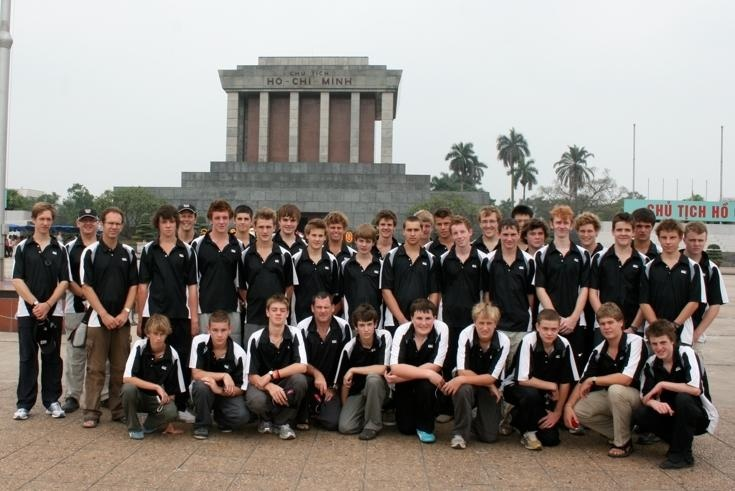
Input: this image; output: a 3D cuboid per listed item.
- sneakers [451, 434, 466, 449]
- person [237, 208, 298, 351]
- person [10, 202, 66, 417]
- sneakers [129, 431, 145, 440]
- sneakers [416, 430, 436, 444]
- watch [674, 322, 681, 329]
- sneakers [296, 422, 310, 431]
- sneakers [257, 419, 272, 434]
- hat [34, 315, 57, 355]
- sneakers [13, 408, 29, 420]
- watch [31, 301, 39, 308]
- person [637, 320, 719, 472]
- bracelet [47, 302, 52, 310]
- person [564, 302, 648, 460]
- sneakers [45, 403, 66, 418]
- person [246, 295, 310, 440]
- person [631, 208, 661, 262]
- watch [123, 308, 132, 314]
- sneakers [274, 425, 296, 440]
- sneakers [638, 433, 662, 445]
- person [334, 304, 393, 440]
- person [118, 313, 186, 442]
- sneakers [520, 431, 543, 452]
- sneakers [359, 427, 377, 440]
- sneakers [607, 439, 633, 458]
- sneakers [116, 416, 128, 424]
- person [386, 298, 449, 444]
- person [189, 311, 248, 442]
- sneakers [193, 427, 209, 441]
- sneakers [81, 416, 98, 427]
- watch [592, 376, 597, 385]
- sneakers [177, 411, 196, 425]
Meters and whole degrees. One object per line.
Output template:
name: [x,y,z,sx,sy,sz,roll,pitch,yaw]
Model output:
sneakers: [1.079,2.332,9.478,0.188,0.147,0.125,0,4,5]
person: [-1.339,0.785,10.694,0.828,2.448,0.483,-2,7,-15]
person: [-4.179,0.798,10.169,0.697,2.718,0.571,-2,4,-21]
sneakers: [-2.769,2.265,9.542,0.164,0.081,0.063,1,6,-22]
sneakers: [0.708,2.305,9.642,0.101,0.098,0.249,2,6,-17]
watch: [3.794,0.964,9.735,0.091,0.071,0.090,-1,8,10]
sneakers: [-0.808,2.248,9.940,0.101,0.060,0.134,5,-8,-29]
sneakers: [-1.273,2.221,9.779,0.148,0.164,0.160,3,0,-6]
hat: [-4.097,1.134,10.171,0.371,0.474,0.330,-3,-7,32]
sneakers: [-4.348,2.106,9.978,0.176,0.131,0.150,-2,4,-24]
watch: [-4.192,0.737,10.036,0.086,0.056,0.078,-19,-10,-30]
person: [3.586,1.824,9.241,0.870,1.357,0.604,2,4,23]
bracelet: [-4.059,0.761,10.161,0.053,0.111,0.173,-1,4,-17]
person: [2.889,1.562,9.640,0.811,1.741,0.708,3,5,31]
sneakers: [-3.964,2.086,10.131,0.179,0.166,0.250,-3,5,-33]
person: [-1.116,1.462,9.761,0.778,1.717,0.471,0,4,-4]
person: [3.593,-0.100,10.406,0.581,0.757,0.417,1,-7,17]
watch: [-3.087,0.824,10.197,0.085,0.025,0.083,1,8,-3]
sneakers: [-1.001,2.252,9.680,0.246,0.154,0.169,0,4,2]
sneakers: [3.406,2.356,9.711,0.336,0.129,0.112,-7,38,11]
person: [-0.034,1.527,9.838,0.673,1.600,0.542,0,4,-3]
person: [-2.615,1.568,9.714,0.733,1.456,0.445,-1,4,-13]
sneakers: [1.959,2.334,9.487,0.124,0.118,0.283,1,-5,-21]
sneakers: [0.017,2.288,9.694,0.262,0.115,0.182,-1,4,-13]
sneakers: [3.006,2.372,9.371,0.441,0.172,0.173,-3,5,-35]
sneakers: [-3.095,2.186,9.996,0.084,0.062,0.231,5,-9,-37]
person: [0.615,1.509,9.729,0.697,1.700,0.471,0,4,5]
person: [-1.814,1.544,9.731,0.692,1.509,0.404,-1,4,-14]
sneakers: [-2.010,2.255,9.573,0.178,0.119,0.116,-1,4,-13]
sneakers: [-3.427,2.182,9.844,0.195,0.105,0.154,-2,4,-25]
watch: [2.760,1.646,9.675,0.046,0.075,0.075,8,47,25]
sneakers: [-2.282,2.143,9.974,0.254,0.104,0.102,18,2,7]
